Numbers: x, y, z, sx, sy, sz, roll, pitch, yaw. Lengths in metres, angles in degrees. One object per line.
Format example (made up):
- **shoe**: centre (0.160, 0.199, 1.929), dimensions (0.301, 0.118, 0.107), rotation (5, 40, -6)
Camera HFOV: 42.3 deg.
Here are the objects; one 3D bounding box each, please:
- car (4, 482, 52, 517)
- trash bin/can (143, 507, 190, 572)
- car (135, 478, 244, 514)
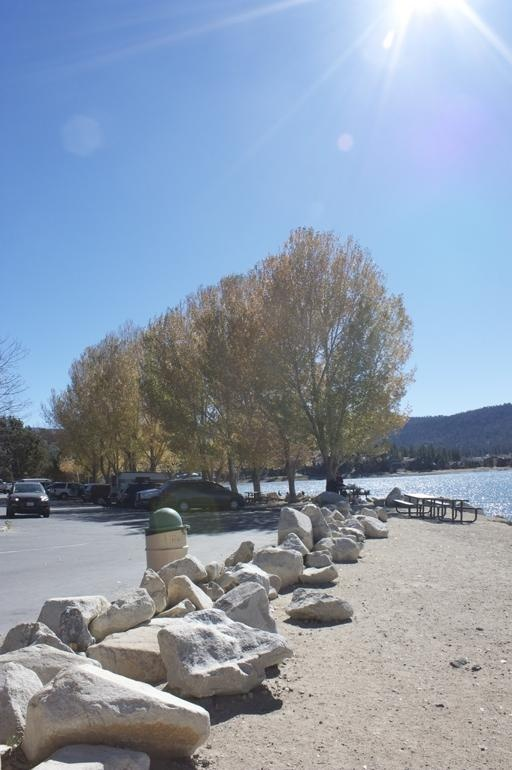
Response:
- **car**: centre (-10.416, 5.344, 30.363), dimensions (1.777, 1.529, 1.923), rotation (1, -7, -20)
- **trash bin/can**: centre (-1.077, 1.887, 7.914), dimensions (0.513, 0.806, 0.538), rotation (1, -5, -39)
- **car**: centre (-3.023, 5.158, 30.504), dimensions (4.543, 1.448, 2.134), rotation (-1, -7, -4)
